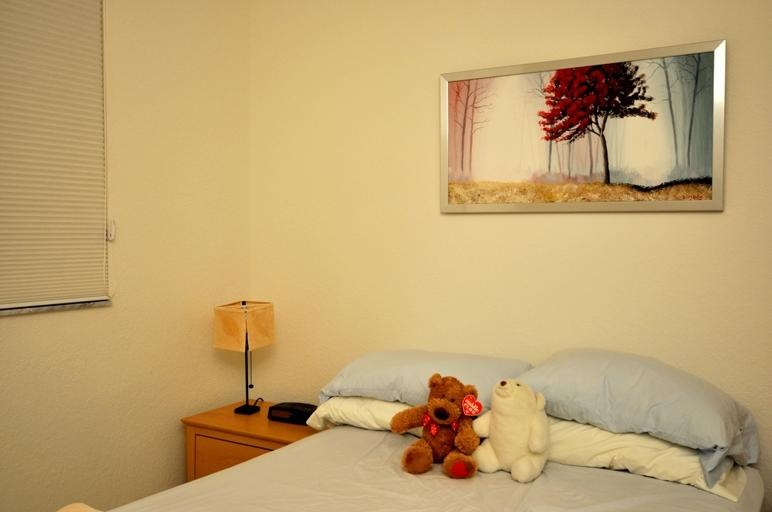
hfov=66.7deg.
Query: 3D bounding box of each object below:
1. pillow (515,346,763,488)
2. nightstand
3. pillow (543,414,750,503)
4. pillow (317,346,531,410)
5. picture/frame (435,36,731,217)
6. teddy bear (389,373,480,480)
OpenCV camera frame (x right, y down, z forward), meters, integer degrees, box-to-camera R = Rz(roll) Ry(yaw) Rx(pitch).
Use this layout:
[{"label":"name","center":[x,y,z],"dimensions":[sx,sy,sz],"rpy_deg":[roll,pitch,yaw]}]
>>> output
[{"label":"pillow","center":[1.218,0.690,2.819],"dimensions":[0.865,0.261,0.619],"rpy_deg":[13,0,23]},{"label":"nightstand","center":[-0.786,0.970,3.470],"dimensions":[0.635,0.612,0.454],"rpy_deg":[2,5,34]},{"label":"pillow","center":[1.140,0.845,2.685],"dimensions":[0.594,0.098,0.403],"rpy_deg":[5,1,27]},{"label":"pillow","center":[0.187,0.638,3.129],"dimensions":[0.730,0.171,0.470],"rpy_deg":[-4,1,16]},{"label":"picture/frame","center":[1.140,-0.712,3.200],"dimensions":[1.103,0.615,0.025],"rpy_deg":[0,1,25]},{"label":"teddy bear","center":[0.314,0.793,2.902],"dimensions":[0.533,0.550,0.377],"rpy_deg":[0,-13,15]}]
